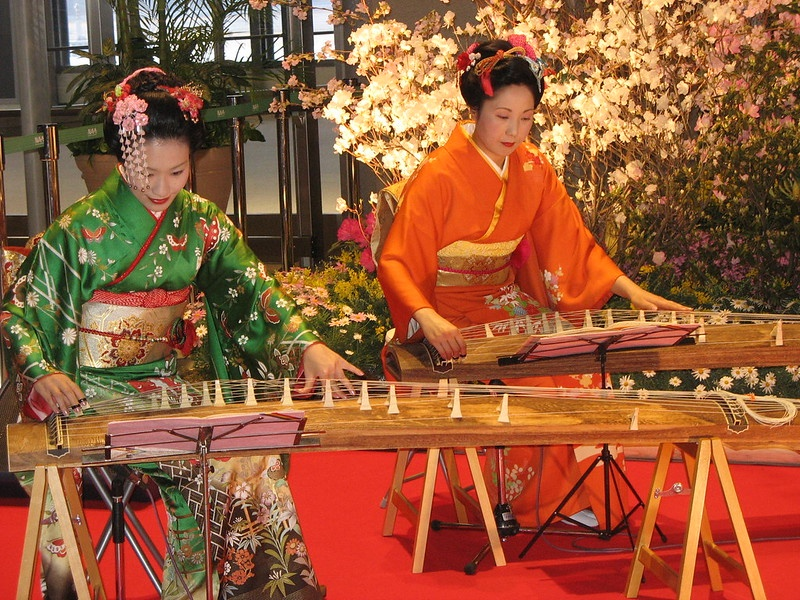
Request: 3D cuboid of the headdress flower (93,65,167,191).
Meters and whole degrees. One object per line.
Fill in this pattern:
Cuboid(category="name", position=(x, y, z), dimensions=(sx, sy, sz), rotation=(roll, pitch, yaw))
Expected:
Cuboid(category="headdress flower", position=(-1.070, -0.695, 3.328), dimensions=(0.238, 0.481, 0.290), rotation=(-3, 13, -5))

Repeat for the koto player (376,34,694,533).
Cuboid(category="koto player", position=(0.648, -0.254, 4.640), dimensions=(2.147, 3.089, 1.060), rotation=(-2, 2, 16))

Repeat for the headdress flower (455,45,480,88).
Cuboid(category="headdress flower", position=(0.323, -1.119, 3.819), dimensions=(0.039, 0.160, 0.168), rotation=(9, -8, -41))

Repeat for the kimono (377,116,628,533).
Cuboid(category="kimono", position=(0.532, 0.155, 4.291), dimensions=(1.147, 2.039, 1.066), rotation=(-14, 13, -2))
